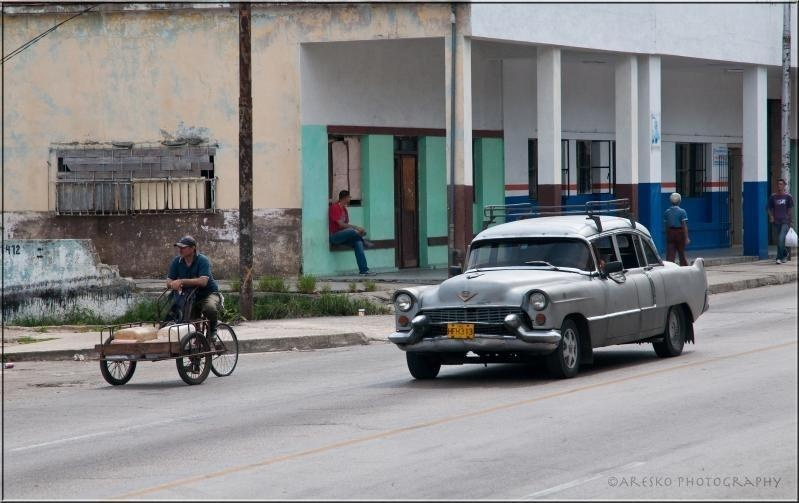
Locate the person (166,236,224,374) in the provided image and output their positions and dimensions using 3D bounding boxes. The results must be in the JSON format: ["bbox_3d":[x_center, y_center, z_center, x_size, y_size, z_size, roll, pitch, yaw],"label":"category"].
[{"bbox_3d":[-3.962,0.819,22.670,0.909,2.183,1.090,-6,-1,27],"label":"person"}]
